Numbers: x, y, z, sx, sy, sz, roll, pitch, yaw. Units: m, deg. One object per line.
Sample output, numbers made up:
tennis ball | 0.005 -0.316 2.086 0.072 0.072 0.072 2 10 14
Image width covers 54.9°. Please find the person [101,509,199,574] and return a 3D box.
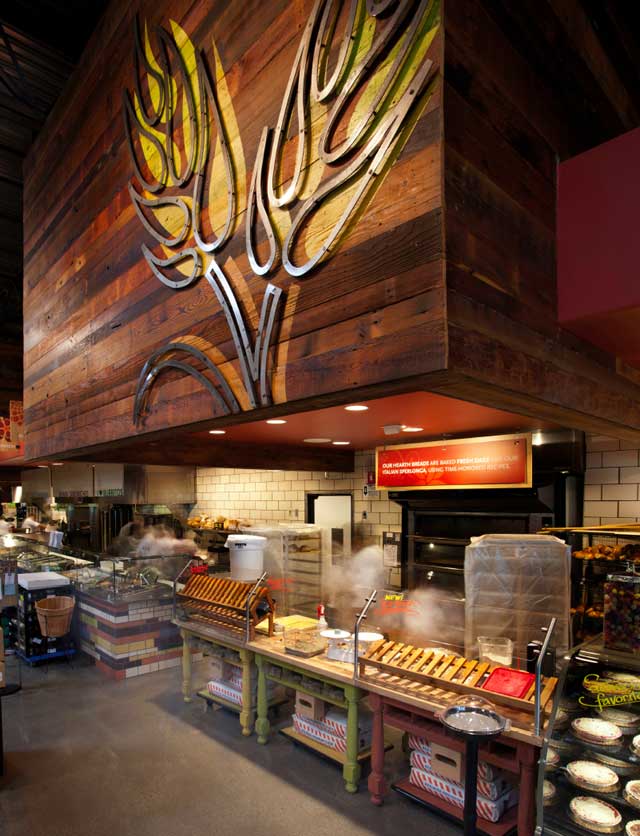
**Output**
person | -2.554 1.895 9.547 1.080 0.325 1.028 2 5 37

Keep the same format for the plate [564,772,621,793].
plate | 1.101 1.480 2.492 0.202 0.050 0.081 -4 -6 22

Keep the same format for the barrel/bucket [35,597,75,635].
barrel/bucket | -2.827 2.172 6.570 0.365 0.489 0.497 2 -7 -32

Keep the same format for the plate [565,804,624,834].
plate | 1.101 1.593 2.467 0.188 0.052 0.185 1 -6 -25

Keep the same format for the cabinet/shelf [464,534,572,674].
cabinet/shelf | 1.259 1.141 3.910 0.589 1.021 0.336 -2 15 15

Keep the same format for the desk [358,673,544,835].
desk | 0.703 1.752 3.197 0.506 0.740 1.040 11 -11 -41

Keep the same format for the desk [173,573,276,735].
desk | -0.747 1.846 5.024 0.970 1.071 0.449 -3 -2 43

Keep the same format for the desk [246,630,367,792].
desk | -0.102 2.034 4.127 0.817 0.598 0.535 9 -29 15
